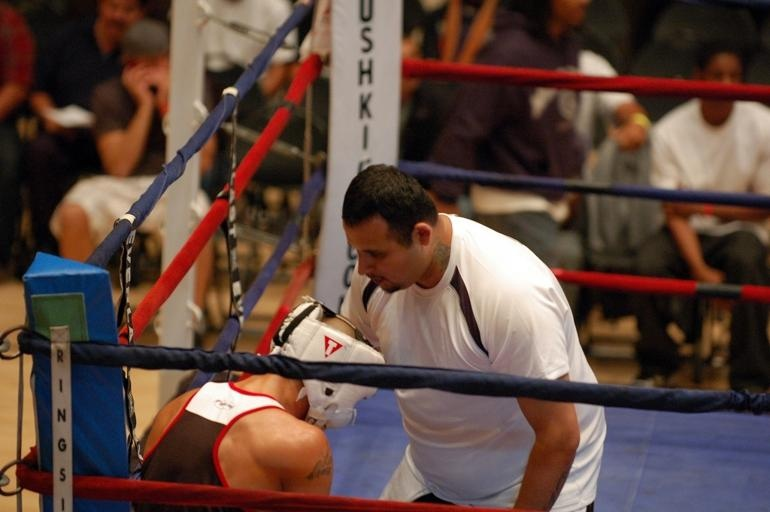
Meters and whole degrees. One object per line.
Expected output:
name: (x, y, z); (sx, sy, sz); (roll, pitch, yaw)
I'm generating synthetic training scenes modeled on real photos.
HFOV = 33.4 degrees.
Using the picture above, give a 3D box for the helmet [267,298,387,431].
helmet: (-0.295, 0.554, 5.892); (0.560, 0.479, 0.449); (23, 1, -19)
